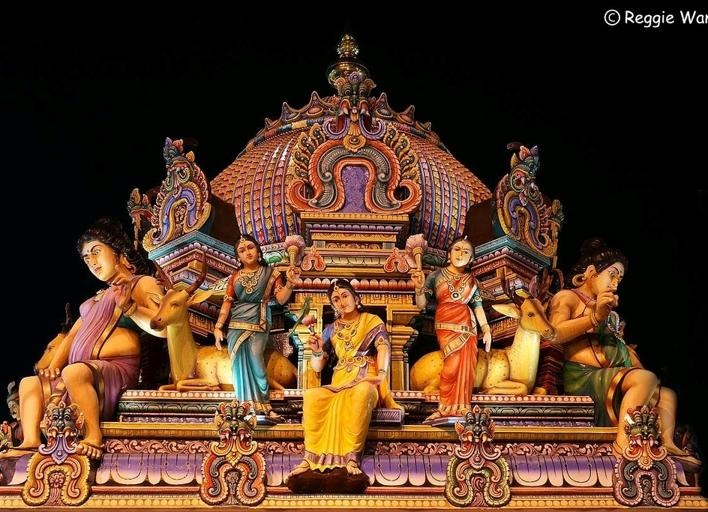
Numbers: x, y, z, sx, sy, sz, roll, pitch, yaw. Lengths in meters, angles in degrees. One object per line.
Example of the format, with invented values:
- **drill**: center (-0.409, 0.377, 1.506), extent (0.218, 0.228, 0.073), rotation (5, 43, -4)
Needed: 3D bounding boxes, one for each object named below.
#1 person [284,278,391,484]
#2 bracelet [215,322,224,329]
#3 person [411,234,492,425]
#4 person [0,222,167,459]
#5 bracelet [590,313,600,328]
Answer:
- **person**: center (-0.127, 1.353, 17.605), extent (0.953, 2.302, 0.402), rotation (3, -28, -2)
- **bracelet**: center (-1.435, 0.746, 17.931), extent (0.063, 0.054, 0.063), rotation (5, -8, -31)
- **person**: center (1.057, 0.800, 17.994), extent (0.796, 2.074, 0.436), rotation (0, -28, 4)
- **person**: center (-2.765, 0.909, 18.046), extent (1.451, 2.770, 0.631), rotation (3, -28, -1)
- **bracelet**: center (2.606, 0.691, 18.175), extent (0.045, 0.127, 0.114), rotation (-41, -17, 4)
